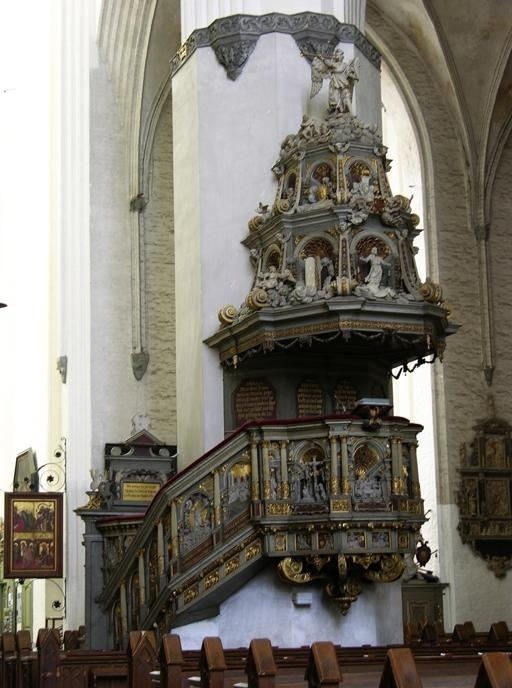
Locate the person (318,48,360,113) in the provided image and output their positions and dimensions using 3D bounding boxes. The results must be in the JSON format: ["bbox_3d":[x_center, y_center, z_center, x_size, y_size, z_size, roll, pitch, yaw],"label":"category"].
[{"bbox_3d":[0.951,-2.958,22.519,0.498,0.898,0.362,7,-27,-16],"label":"person"}]

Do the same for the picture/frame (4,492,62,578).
[{"bbox_3d":[-2.840,2.444,25.830,0.755,1.059,0.841,1,2,-7],"label":"picture/frame"}]
